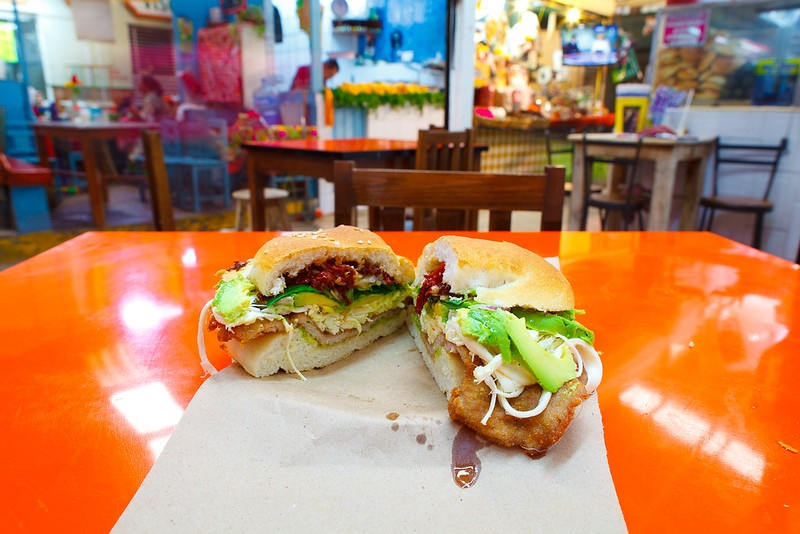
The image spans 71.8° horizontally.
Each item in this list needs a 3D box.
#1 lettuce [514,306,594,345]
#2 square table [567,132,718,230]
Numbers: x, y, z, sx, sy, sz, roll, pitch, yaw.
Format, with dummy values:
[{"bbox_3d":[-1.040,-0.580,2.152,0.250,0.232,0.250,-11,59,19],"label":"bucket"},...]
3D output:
[{"bbox_3d":[0.419,0.145,1.616,0.205,0.107,0.196,2,11,-11],"label":"lettuce"},{"bbox_3d":[2.025,-0.689,4.857,0.436,0.963,1.054,-16,27,-41],"label":"square table"}]
